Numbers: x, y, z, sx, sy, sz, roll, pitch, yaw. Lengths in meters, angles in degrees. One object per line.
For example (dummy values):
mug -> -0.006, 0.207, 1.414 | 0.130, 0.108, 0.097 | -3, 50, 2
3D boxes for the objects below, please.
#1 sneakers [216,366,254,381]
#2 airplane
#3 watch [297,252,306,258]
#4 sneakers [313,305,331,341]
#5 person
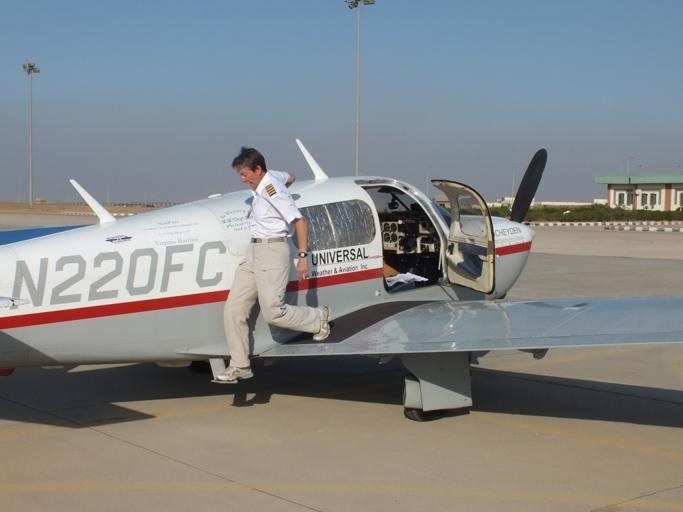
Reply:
sneakers -> -0.975, 1.067, 7.456 | 0.367, 0.104, 0.128 | -1, 2, -8
airplane -> -0.194, 0.277, 7.573 | 4.504, 1.139, 4.632 | -4, 6, -34
watch -> -0.352, -0.013, 7.324 | 0.084, 0.027, 0.066 | 0, 2, -2
sneakers -> -0.146, 0.630, 7.608 | 0.159, 0.293, 0.177 | -13, -30, 38
person -> -0.699, 0.180, 7.469 | 1.097, 1.851, 0.613 | -6, 19, -21
